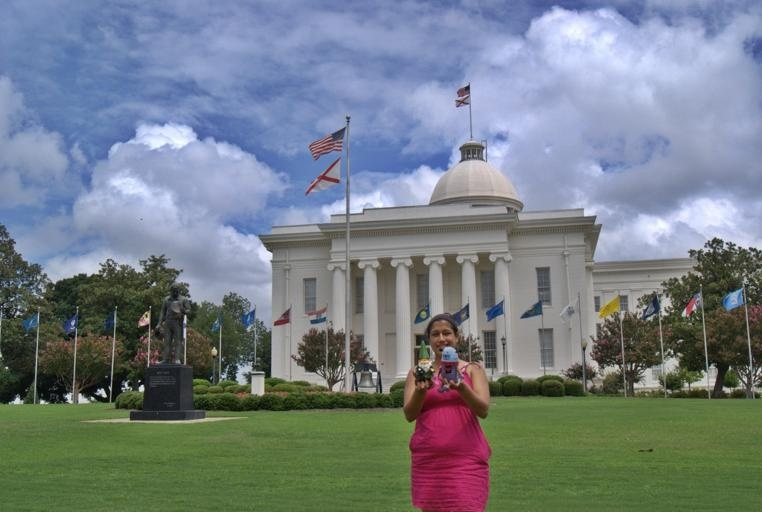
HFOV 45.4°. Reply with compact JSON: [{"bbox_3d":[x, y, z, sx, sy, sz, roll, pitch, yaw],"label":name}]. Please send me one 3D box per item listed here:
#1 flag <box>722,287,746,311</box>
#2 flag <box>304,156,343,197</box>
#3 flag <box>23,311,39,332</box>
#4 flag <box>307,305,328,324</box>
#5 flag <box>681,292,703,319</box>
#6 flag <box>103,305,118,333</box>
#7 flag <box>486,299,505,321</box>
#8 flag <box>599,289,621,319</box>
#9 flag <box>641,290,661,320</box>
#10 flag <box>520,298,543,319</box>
[{"bbox_3d":[24.069,2.975,62.258,1.868,1.827,0.265,-5,-18,42],"label":"flag"},{"bbox_3d":[-3.141,-4.920,52.915,1.434,1.939,2.408,0,-11,-8],"label":"flag"},{"bbox_3d":[-27.486,5.116,71.486,1.792,1.824,0.266,15,-5,44],"label":"flag"},{"bbox_3d":[-5.239,4.816,75.063,1.965,1.833,0.175,-2,1,2],"label":"flag"},{"bbox_3d":[22.706,3.599,66.721,2.025,0.736,5.552,17,13,22],"label":"flag"},{"bbox_3d":[-23.414,5.335,78.814,2.499,3.197,0.334,5,6,44],"label":"flag"},{"bbox_3d":[9.066,4.312,72.401,1.824,1.831,0.310,-23,-59,40],"label":"flag"},{"bbox_3d":[20.400,4.313,81.788,3.155,2.356,0.353,1,-4,4],"label":"flag"},{"bbox_3d":[18.758,3.391,63.608,1.101,1.879,3.373,-4,-12,15],"label":"flag"},{"bbox_3d":[12.049,4.225,73.063,2.544,1.903,0.202,-6,-55,12],"label":"flag"}]
